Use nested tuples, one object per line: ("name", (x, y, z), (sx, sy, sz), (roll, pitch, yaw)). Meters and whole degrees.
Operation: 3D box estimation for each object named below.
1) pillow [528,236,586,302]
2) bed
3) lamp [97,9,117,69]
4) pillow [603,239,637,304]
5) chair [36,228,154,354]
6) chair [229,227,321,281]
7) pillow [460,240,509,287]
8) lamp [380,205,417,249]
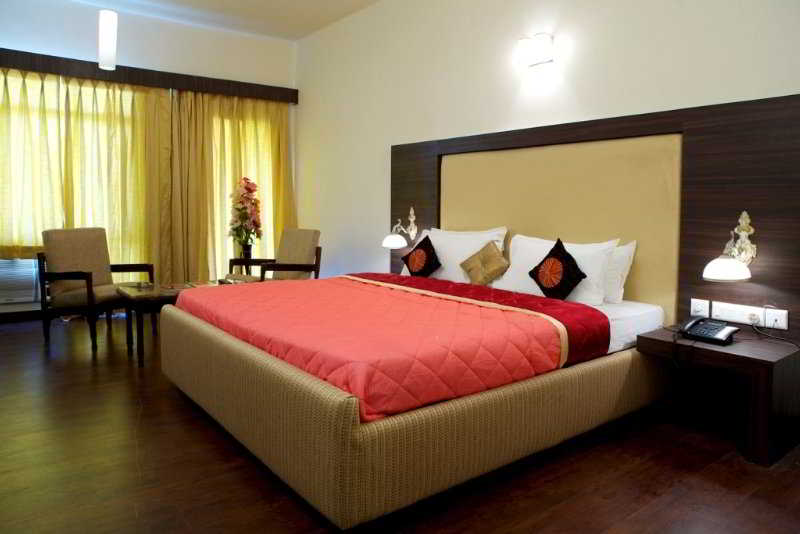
("pillow", (1.163, 0.091, 4.010), (0.466, 0.110, 0.433), (-34, 43, -22))
("bed", (0.703, 0.395, 3.541), (2.166, 1.376, 2.909), (-1, 1, -34))
("lamp", (-2.727, -2.146, 4.846), (0.168, 0.600, 0.407), (-6, 9, -28))
("pillow", (1.710, 0.043, 3.993), (0.122, 0.413, 0.421), (12, -12, -27))
("chair", (-3.062, 0.168, 5.296), (0.839, 1.153, 0.917), (4, 7, 39))
("chair", (-1.407, -0.124, 5.906), (0.852, 0.980, 0.688), (0, 2, -41))
("pillow", (0.738, -0.016, 4.527), (0.477, 0.510, 0.136), (-13, -38, 37))
("lamp", (0.002, -0.408, 5.526), (0.362, 0.436, 0.259), (-1, -6, 23))
